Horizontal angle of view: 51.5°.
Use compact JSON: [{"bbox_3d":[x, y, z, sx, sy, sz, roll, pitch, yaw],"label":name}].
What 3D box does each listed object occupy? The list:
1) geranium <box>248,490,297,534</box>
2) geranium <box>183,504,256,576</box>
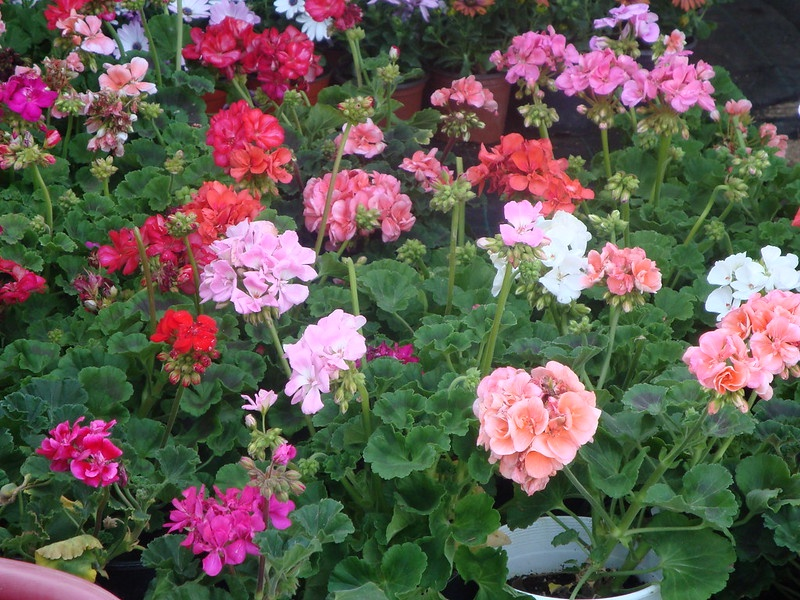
[{"bbox_3d":[-0.361,0.592,2.332,0.109,0.117,0.045,16,-46,-44],"label":"geranium"},{"bbox_3d":[-0.487,0.655,2.267,0.170,0.189,0.112,-10,-3,-11],"label":"geranium"}]
